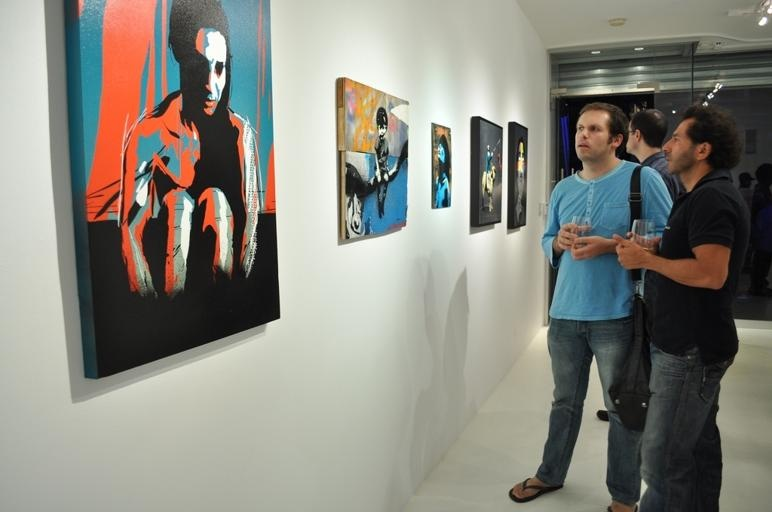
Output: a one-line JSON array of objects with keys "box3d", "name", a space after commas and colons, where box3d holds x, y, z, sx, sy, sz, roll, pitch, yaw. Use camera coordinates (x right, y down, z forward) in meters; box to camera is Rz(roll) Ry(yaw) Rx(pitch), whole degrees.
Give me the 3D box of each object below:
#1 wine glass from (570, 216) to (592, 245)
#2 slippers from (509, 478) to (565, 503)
[{"box3d": [1.003, -0.140, 2.971, 0.118, 0.195, 0.123, 0, 1, 34], "name": "wine glass"}, {"box3d": [0.814, 1.288, 3.205, 0.231, 0.056, 0.121, -3, 8, -11], "name": "slippers"}]
